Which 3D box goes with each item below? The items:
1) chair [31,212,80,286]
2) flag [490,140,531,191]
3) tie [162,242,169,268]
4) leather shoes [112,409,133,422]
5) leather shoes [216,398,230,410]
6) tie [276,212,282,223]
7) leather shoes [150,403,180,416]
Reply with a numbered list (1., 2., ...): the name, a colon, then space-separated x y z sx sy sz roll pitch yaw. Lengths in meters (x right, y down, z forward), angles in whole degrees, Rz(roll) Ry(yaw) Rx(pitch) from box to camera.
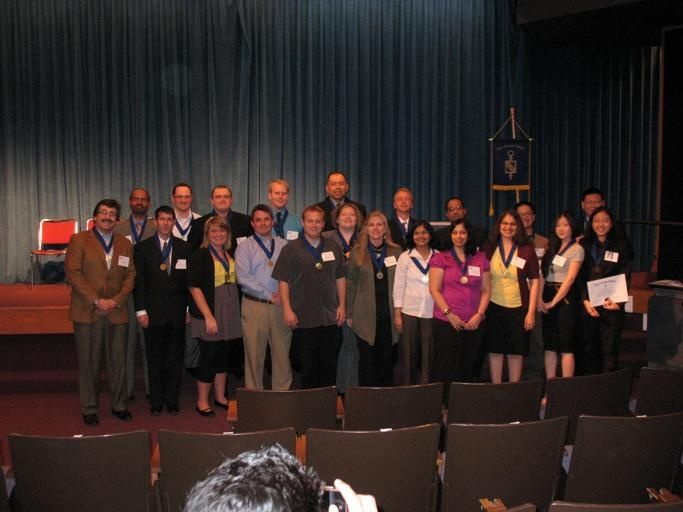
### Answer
1. chair: -3.794 -0.037 8.800 0.453 0.972 0.557 -1 2 -13
2. flag: 2.702 -1.475 10.664 0.678 0.990 0.068 0 0 -4
3. tie: -1.653 -0.014 6.214 0.082 0.231 0.064 -1 2 -18
4. leather shoes: -2.051 1.493 6.223 0.213 0.099 0.082 2 5 34
5. leather shoes: -1.154 1.426 6.393 0.206 0.094 0.073 -2 -3 31
6. tie: -0.670 -0.402 6.952 0.060 0.098 0.033 0 -10 -8
7. leather shoes: -1.693 1.460 6.326 0.214 0.098 0.129 8 -3 -11
